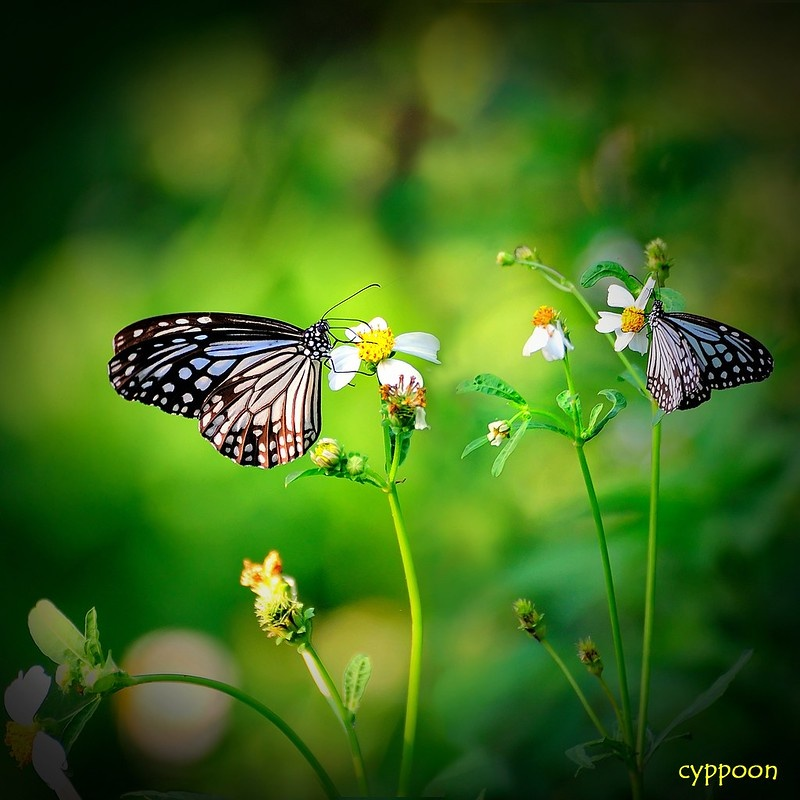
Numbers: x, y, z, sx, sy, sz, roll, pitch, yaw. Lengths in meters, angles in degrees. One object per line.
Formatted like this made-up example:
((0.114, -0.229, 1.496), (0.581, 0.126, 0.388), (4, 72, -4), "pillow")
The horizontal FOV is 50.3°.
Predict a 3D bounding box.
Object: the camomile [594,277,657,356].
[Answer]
((0.488, -0.177, 1.834), (0.124, 0.169, 0.074), (3, -7, 19), "camomile")

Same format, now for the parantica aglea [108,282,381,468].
((-0.327, -0.049, 1.904), (0.585, 0.469, 0.265), (-8, -16, 5), "parantica aglea")
